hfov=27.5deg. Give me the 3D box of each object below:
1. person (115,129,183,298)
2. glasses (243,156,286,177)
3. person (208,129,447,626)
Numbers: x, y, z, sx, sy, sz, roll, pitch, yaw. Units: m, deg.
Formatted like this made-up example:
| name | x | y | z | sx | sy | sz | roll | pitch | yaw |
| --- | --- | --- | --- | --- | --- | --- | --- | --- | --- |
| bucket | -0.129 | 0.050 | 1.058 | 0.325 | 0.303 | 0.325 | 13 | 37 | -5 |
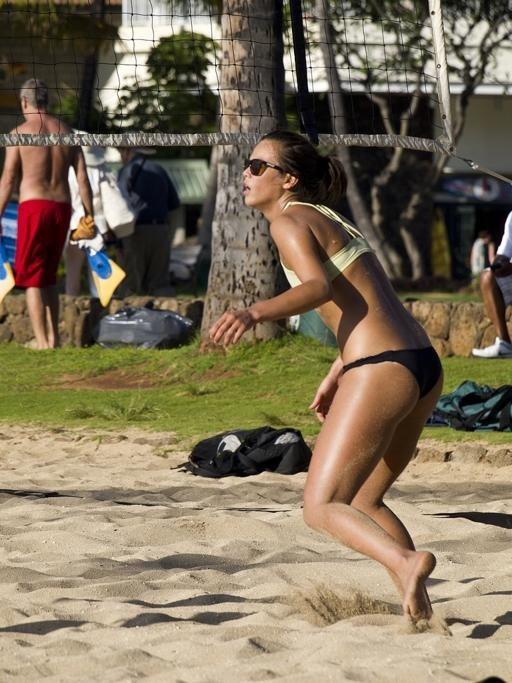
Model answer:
| name | x | y | z | sx | sy | sz | roll | pitch | yaw |
| --- | --- | --- | --- | --- | --- | --- | --- | --- | --- |
| person | -1.028 | -1.127 | 9.856 | 0.379 | 1.375 | 0.698 | 7 | 7 | 38 |
| glasses | 0.027 | -0.490 | 2.988 | 0.082 | 0.023 | 0.076 | 8 | 1 | -15 |
| person | 0.212 | 0.063 | 2.901 | 0.619 | 1.307 | 0.707 | 3 | 6 | 7 |
